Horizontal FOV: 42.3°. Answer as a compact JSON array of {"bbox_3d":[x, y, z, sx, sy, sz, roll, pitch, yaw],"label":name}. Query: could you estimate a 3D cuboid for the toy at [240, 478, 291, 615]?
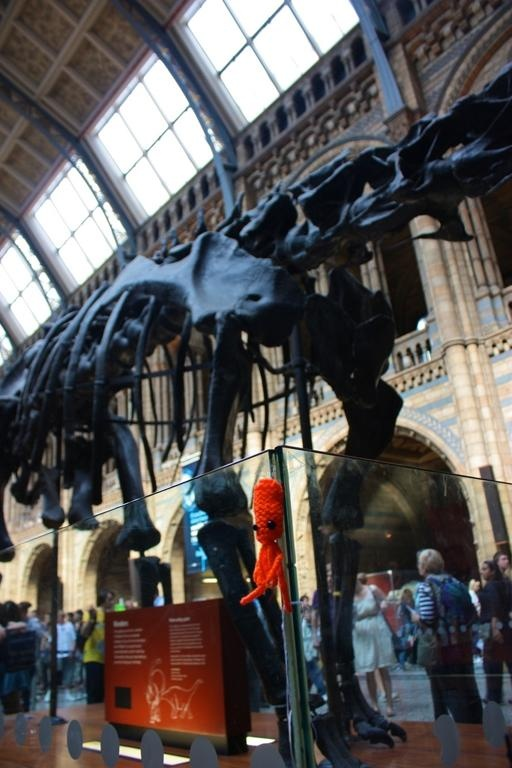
[{"bbox_3d":[0.029,0.367,1.510,0.127,0.297,0.045,-21,-20,37],"label":"toy"}]
